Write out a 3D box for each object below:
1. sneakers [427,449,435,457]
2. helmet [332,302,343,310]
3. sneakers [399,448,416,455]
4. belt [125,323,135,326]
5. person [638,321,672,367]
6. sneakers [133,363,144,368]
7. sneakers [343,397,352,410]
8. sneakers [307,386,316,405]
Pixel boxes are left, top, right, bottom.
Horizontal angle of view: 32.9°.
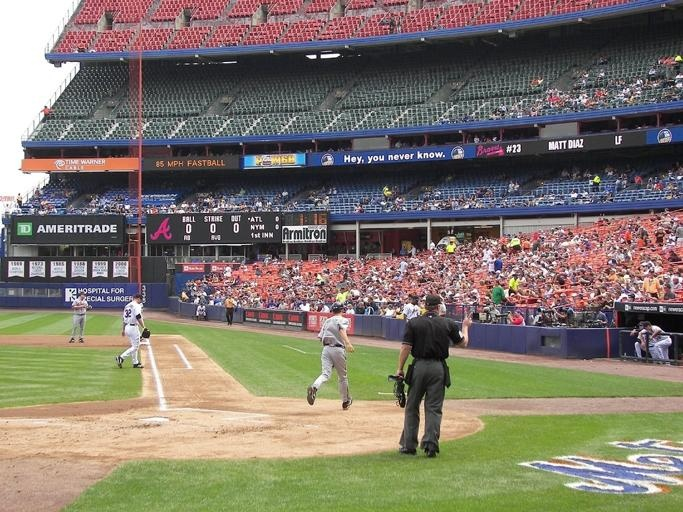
[{"bbox_3d":[2.434,5.470,31.811,0.161,0.187,0.205,-1,5,-43],"label":"sneakers"},{"bbox_3d":[-0.153,1.475,35.622,0.316,0.239,0.467,0,-6,-3],"label":"helmet"},{"bbox_3d":[1.808,5.444,31.916,0.463,0.192,0.161,-2,2,5],"label":"sneakers"},{"bbox_3d":[-7.649,2.394,41.743,0.329,0.122,0.113,-1,-6,2],"label":"belt"},{"bbox_3d":[12.032,3.313,44.707,1.326,1.719,1.017,-14,-14,31],"label":"person"},{"bbox_3d":[-7.439,3.966,41.996,0.375,0.235,0.128,-6,13,-15],"label":"sneakers"},{"bbox_3d":[0.130,4.602,35.947,0.174,0.206,0.460,6,31,17],"label":"sneakers"},{"bbox_3d":[-0.978,4.318,35.498,0.249,0.635,0.276,0,-1,18],"label":"sneakers"}]
